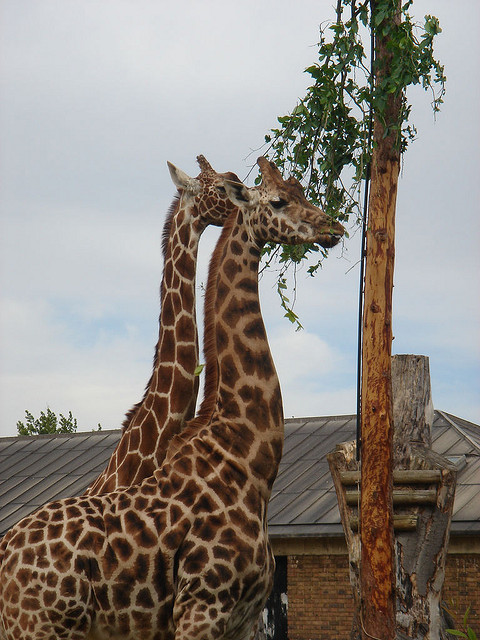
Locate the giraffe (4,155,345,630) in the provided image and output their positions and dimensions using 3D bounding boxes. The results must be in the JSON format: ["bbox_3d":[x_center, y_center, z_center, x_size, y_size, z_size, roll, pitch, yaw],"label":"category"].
[{"bbox_3d":[-0.463,0.524,13.973,2.286,3.866,1.119,5,-5,-28],"label":"giraffe"}]

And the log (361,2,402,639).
[{"bbox_3d":[1.042,0.388,13.157,0.293,3.966,0.279,1,-4,5],"label":"log"}]
